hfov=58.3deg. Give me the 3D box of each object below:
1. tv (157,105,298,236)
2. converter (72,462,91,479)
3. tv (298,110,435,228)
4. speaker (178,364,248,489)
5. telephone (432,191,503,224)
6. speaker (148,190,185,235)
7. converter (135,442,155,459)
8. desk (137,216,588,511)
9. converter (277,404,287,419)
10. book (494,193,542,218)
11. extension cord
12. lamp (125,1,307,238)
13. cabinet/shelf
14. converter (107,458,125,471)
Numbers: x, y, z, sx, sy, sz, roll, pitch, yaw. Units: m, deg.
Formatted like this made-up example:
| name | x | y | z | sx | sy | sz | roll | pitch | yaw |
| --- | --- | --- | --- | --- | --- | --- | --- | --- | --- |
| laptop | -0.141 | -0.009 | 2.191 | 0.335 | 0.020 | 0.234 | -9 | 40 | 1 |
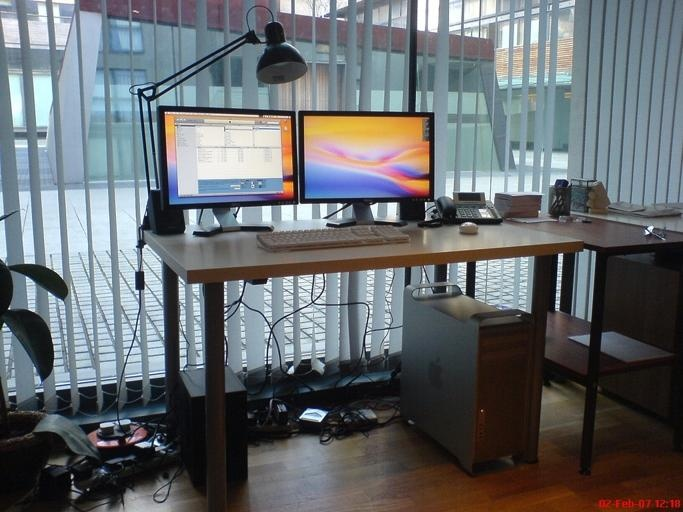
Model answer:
| name | x | y | z | sx | sy | sz | roll | pitch | yaw |
| --- | --- | --- | --- | --- | --- | --- | --- | --- | --- |
| tv | -0.512 | -0.387 | 2.702 | 0.577 | 0.517 | 0.176 | -2 | 7 | -19 |
| converter | -1.096 | 0.910 | 2.591 | 0.047 | 0.023 | 0.063 | 6 | 21 | -11 |
| tv | 0.120 | -0.424 | 2.881 | 0.554 | 0.442 | 0.148 | -1 | 4 | -12 |
| speaker | -0.527 | 0.723 | 2.512 | 0.243 | 0.428 | 0.460 | -2 | 20 | -14 |
| telephone | 0.626 | -0.229 | 2.990 | 0.236 | 0.101 | 0.182 | -3 | 18 | -14 |
| speaker | -0.755 | -0.191 | 2.649 | 0.127 | 0.222 | 0.135 | -11 | 23 | -39 |
| converter | -0.868 | 0.866 | 2.702 | 0.060 | 0.038 | 0.061 | 5 | 13 | -6 |
| desk | -0.069 | 0.430 | 2.804 | 1.964 | 1.219 | 1.061 | -5 | 12 | -22 |
| converter | -0.297 | 0.764 | 3.004 | 0.041 | 0.053 | 0.082 | 2 | 4 | -26 |
| book | 0.920 | -0.263 | 3.200 | 0.164 | 0.105 | 0.168 | -2 | 9 | -9 |
| extension cord | -0.933 | 0.923 | 2.639 | 0.264 | 0.054 | 0.124 | -11 | 21 | -42 |
| lamp | -0.567 | -0.622 | 2.769 | 0.781 | 1.093 | 0.498 | -5 | 8 | -14 |
| cabinet/shelf | 1.075 | 0.359 | 3.174 | 0.904 | 1.177 | 1.240 | -4 | 19 | -12 |
| converter | -0.981 | 0.899 | 2.654 | 0.035 | 0.033 | 0.066 | 2 | 2 | 45 |
